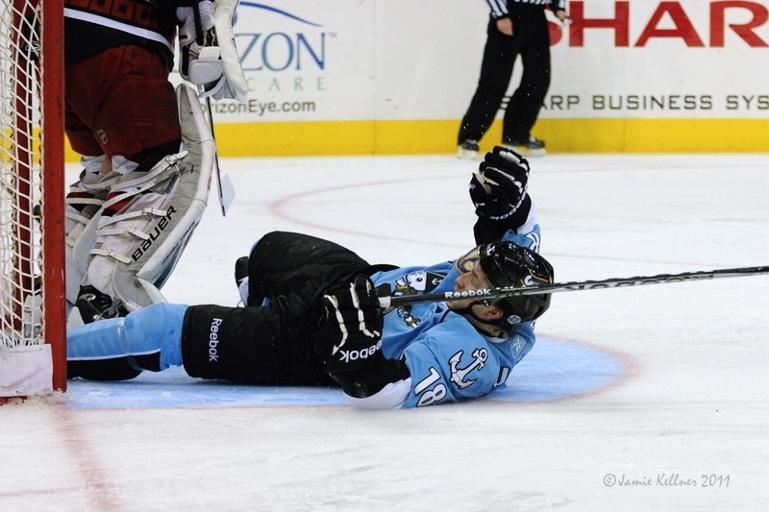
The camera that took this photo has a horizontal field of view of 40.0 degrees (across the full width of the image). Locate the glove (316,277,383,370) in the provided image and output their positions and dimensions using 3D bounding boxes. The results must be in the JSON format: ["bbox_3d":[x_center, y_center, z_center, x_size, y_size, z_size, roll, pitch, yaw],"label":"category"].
[{"bbox_3d":[-0.100,0.204,3.090,0.231,0.253,0.117,1,13,-6],"label":"glove"}]

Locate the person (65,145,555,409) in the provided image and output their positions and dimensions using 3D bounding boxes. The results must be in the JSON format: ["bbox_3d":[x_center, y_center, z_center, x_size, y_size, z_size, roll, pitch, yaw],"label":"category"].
[{"bbox_3d":[-0.219,-0.042,3.352,1.353,0.518,0.958,4,12,10],"label":"person"}]

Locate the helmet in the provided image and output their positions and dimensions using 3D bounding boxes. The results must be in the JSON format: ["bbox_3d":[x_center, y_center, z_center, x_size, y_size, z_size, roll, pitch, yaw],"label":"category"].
[{"bbox_3d":[0.410,0.106,3.318,0.231,0.283,0.281,1,14,6],"label":"helmet"}]
